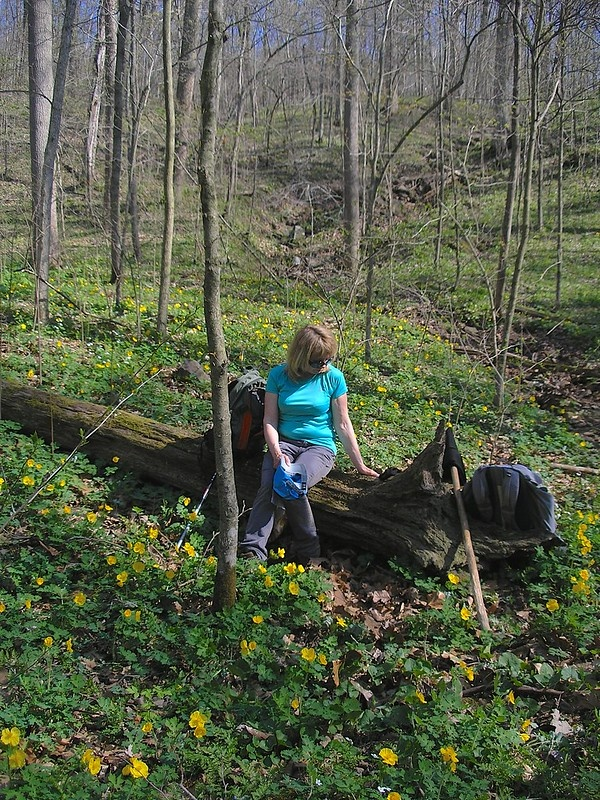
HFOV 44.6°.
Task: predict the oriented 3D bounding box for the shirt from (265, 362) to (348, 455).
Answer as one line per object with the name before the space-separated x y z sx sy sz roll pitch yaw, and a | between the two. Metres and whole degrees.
shirt | 0.032 0.057 4.526 0.593 0.601 0.343 0 6 -11

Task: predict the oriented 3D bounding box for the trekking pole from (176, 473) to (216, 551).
trekking pole | -0.630 0.700 4.498 0.060 0.562 0.026 9 -38 44
